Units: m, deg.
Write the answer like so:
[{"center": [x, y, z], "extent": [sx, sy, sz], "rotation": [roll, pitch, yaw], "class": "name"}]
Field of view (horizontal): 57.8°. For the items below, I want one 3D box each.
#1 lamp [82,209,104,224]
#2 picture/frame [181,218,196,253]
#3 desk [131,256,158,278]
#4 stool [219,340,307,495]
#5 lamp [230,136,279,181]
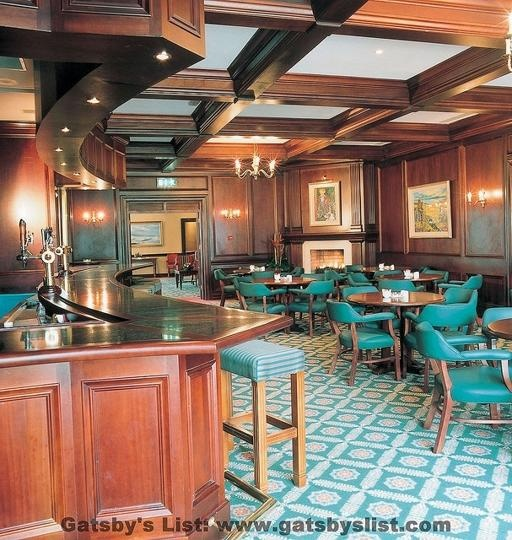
[{"center": [-4.047, -1.323, 11.507], "extent": [0.487, 0.302, 0.151], "rotation": [-1, -1, -22], "class": "lamp"}, {"center": [-3.058, -1.571, 21.271], "extent": [0.728, 1.582, 0.261], "rotation": [-6, 3, -29], "class": "picture/frame"}, {"center": [-3.747, -0.082, 15.648], "extent": [0.684, 0.447, 1.078], "rotation": [0, 3, 2], "class": "desk"}, {"center": [0.056, 0.940, 3.130], "extent": [0.505, 0.913, 0.629], "rotation": [-5, 3, -19], "class": "stool"}, {"center": [-0.011, -2.927, 12.193], "extent": [1.008, 1.000, 0.901], "rotation": [1, 2, 16], "class": "lamp"}]
